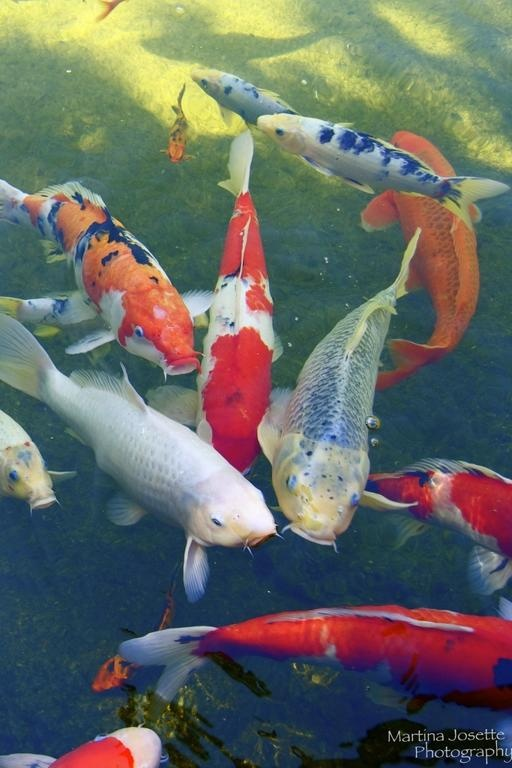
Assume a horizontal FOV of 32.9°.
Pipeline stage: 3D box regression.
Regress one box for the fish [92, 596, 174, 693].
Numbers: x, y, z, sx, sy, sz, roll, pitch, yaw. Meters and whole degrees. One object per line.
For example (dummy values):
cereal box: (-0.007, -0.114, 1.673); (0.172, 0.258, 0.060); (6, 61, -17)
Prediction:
fish: (-0.623, 1.335, 4.378); (0.177, 0.089, 0.408); (4, 48, 48)
